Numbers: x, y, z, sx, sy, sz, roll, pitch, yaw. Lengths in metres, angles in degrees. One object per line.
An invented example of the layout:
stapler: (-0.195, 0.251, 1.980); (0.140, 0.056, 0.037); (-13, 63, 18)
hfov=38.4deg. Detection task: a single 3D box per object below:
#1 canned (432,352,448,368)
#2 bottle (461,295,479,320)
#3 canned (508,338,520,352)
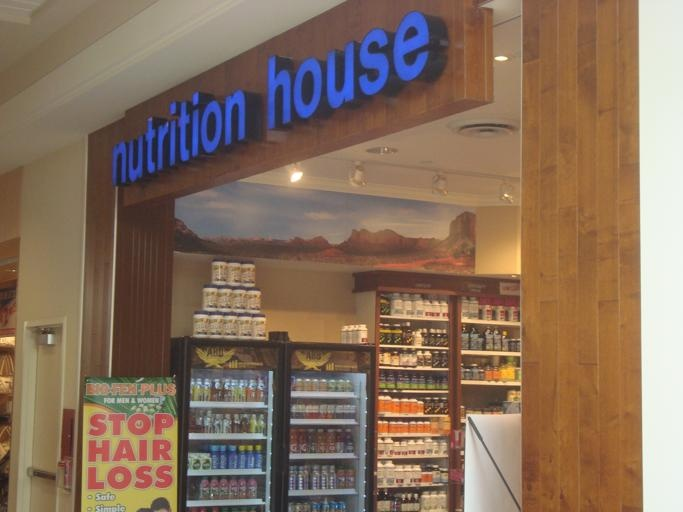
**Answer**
canned: (1.078, 1.142, 10.750); (0.132, 0.152, 0.066); (3, -10, -16)
bottle: (1.446, 0.560, 10.946); (0.186, 0.417, 0.215); (-1, -3, 22)
canned: (1.989, 1.019, 11.238); (0.117, 0.145, 0.129); (0, -6, 11)
